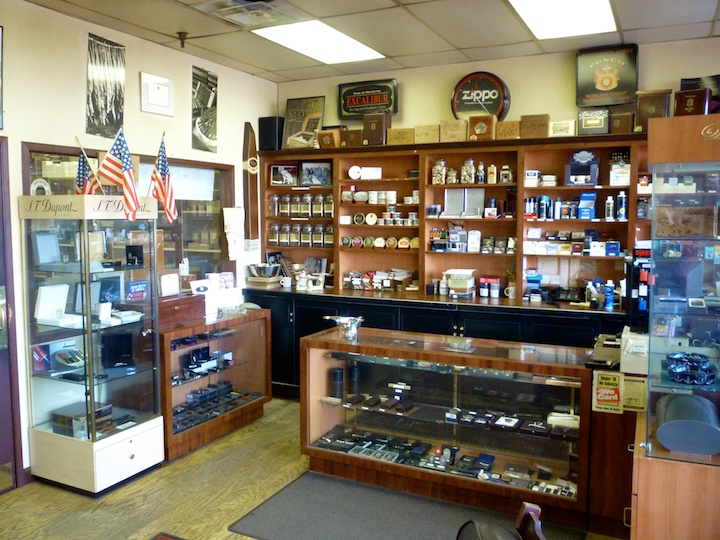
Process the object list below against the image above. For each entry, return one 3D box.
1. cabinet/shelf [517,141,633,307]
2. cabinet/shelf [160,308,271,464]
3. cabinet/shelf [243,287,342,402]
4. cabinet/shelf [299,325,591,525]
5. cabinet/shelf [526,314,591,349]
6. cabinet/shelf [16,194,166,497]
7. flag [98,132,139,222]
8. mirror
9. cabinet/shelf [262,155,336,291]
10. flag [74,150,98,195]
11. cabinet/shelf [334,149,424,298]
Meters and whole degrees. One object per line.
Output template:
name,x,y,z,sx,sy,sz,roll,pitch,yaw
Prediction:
cabinet/shelf,2.254,-0.553,5.791,1.149,1.626,0.494,2,11,20
cabinet/shelf,-1.574,1.065,5.526,0.544,1.191,1.534,1,4,26
cabinet/shelf,-0.698,0.769,5.706,1.423,1.186,0.539,1,1,20
cabinet/shelf,0.741,1.237,4.508,2.347,1.032,0.703,1,-10,30
cabinet/shelf,1.998,0.599,5.466,0.579,0.287,0.517,4,-1,20
cabinet/shelf,-2.276,0.621,4.762,0.769,2.376,0.925,0,3,18
flag,-1.966,-0.773,4.460,0.282,0.728,0.300,-6,11,-24
mirror,-2.101,-0.412,4.891,0.208,1.235,1.989,6,8,44
cabinet/shelf,-0.718,-0.614,6.908,1.011,1.556,0.368,2,11,19
flag,-2.207,-0.790,4.418,0.145,0.335,0.273,-9,12,-37
cabinet/shelf,0.243,-0.578,6.560,1.090,1.603,0.644,1,10,11
